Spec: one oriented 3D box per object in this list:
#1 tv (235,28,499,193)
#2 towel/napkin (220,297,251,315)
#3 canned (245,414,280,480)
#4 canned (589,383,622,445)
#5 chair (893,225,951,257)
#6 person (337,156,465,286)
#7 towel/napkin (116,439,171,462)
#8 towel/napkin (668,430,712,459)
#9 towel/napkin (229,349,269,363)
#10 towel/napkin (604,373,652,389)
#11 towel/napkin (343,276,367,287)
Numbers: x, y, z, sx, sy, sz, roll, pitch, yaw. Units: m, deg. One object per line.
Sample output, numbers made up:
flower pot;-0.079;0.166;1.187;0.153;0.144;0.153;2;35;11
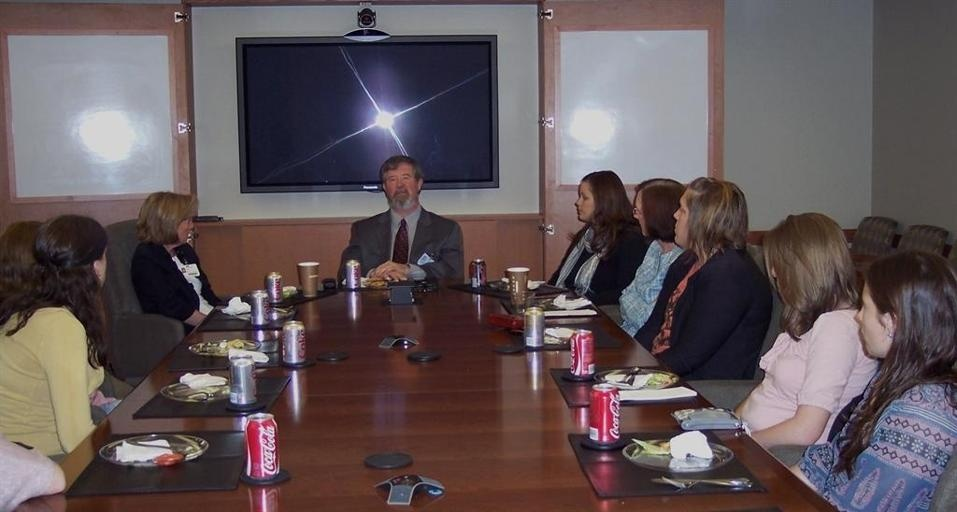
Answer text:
tv;-1.187;-1.482;6.337;2.108;1.008;0.206;0;8;-1
towel/napkin;-1.429;0.288;3.816;0.139;0.049;0.148;-1;2;-12
canned;-0.766;0.661;2.267;0.119;0.223;0.156;-5;9;-20
canned;0.479;0.584;2.386;0.147;0.203;0.110;-3;8;-11
chair;3.116;-0.099;4.507;0.240;0.236;0.269;-4;13;-21
person;-0.600;-0.310;5.160;0.777;0.969;0.860;-8;10;-41
towel/napkin;-1.202;0.702;2.318;0.115;0.029;0.104;4;8;-6
towel/napkin;0.751;0.677;2.279;0.119;0.028;0.114;-10;14;-20
towel/napkin;-1.032;0.455;2.922;0.149;0.037;0.135;2;2;-8
towel/napkin;0.648;0.538;2.750;0.130;0.019;0.118;-1;6;0
towel/napkin;-0.860;0.193;4.513;0.120;0.078;0.112;-2;5;-32
